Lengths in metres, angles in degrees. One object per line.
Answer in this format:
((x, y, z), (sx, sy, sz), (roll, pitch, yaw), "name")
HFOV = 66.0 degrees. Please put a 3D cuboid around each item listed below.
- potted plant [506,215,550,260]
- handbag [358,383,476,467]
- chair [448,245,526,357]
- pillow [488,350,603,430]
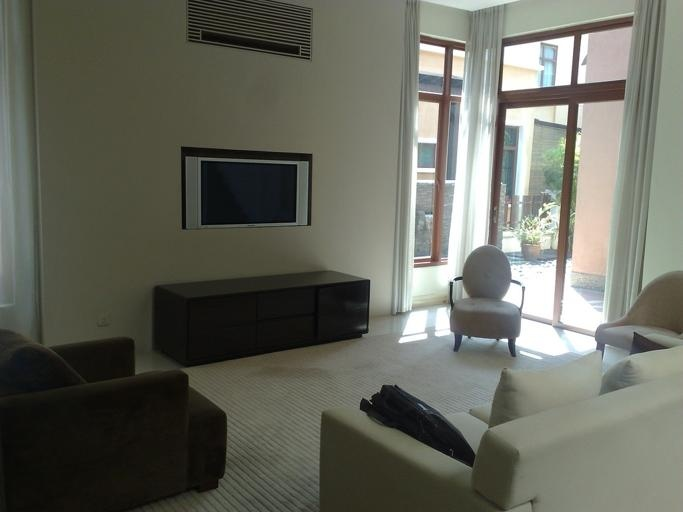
((2.360, -0.221, 6.589), (0.438, 0.575, 0.436), (-1, 5, -4), "potted plant")
((0.374, 0.811, 2.529), (0.428, 0.141, 0.352), (29, 12, 29), "handbag")
((1.537, 0.453, 5.631), (0.710, 1.105, 0.934), (1, 5, 11), "chair")
((1.040, 0.696, 2.724), (0.568, 0.414, 0.178), (-4, 13, -27), "pillow")
